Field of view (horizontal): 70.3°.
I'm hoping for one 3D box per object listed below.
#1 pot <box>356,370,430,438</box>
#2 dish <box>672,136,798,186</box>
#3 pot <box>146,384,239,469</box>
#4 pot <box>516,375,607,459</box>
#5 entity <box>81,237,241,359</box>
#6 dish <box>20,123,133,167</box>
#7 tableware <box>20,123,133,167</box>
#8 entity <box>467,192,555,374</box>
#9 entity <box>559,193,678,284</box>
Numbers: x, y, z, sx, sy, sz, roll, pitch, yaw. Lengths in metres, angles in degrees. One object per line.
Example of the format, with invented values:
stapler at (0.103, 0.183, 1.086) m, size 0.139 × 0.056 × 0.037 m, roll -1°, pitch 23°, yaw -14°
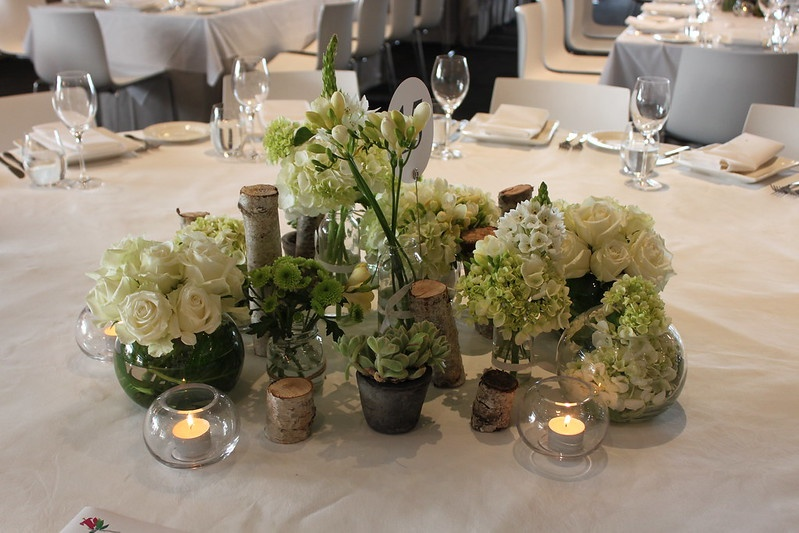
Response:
pot at (-0.011, 0.229, 0.977) m, size 0.108 × 0.081 × 0.108 m, roll 2°, pitch 12°, yaw 0°
dish at (1.022, -0.324, 1.717) m, size 0.214 × 0.070 × 0.221 m, roll -24°, pitch 30°, yaw -28°
pot at (-0.322, 0.249, 0.907) m, size 0.125 × 0.090 × 0.129 m, roll 0°, pitch 14°, yaw 0°
pot at (0.255, 0.245, 0.889) m, size 0.117 × 0.090 × 0.131 m, roll -6°, pitch 42°, yaw 5°
entity at (-0.382, 0.046, 0.946) m, size 0.239 × 0.180 × 0.167 m, roll -15°, pitch 29°, yaw -27°
dish at (-0.991, -0.391, 1.817) m, size 0.212 × 0.053 × 0.215 m, roll 33°, pitch 32°, yaw 34°
tableware at (-0.998, -0.384, 1.817) m, size 0.212 × 0.053 × 0.215 m, roll 33°, pitch 32°, yaw 34°
entity at (0.200, 0.023, 1.000) m, size 0.182 × 0.363 × 0.193 m, roll 3°, pitch 26°, yaw 6°
entity at (0.392, -0.029, 1.035) m, size 0.160 × 0.179 × 0.116 m, roll 8°, pitch -18°, yaw 1°
